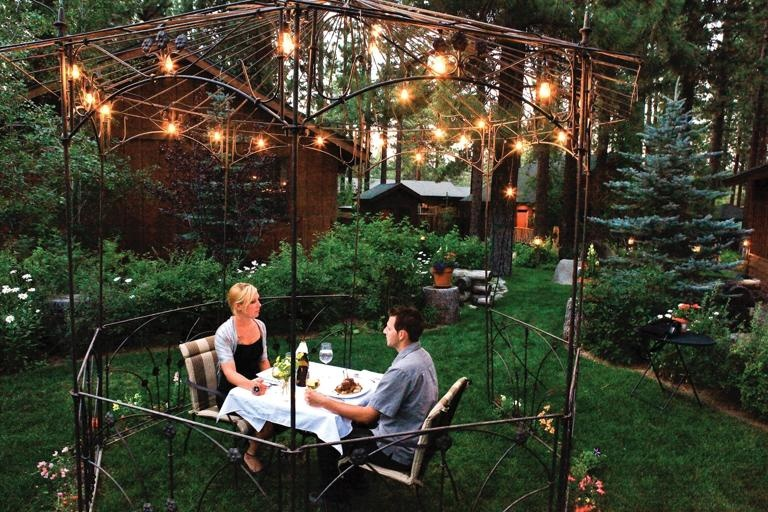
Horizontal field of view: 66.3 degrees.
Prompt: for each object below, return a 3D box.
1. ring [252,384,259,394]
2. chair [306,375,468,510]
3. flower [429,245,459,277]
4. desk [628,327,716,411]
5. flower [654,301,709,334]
[{"bbox_3d":[-1.870,1.955,8.603,0.077,0.118,0.034,0,-10,-4],"label":"ring"},{"bbox_3d":[0.168,2.574,8.515,1.821,2.529,1.606,8,8,25],"label":"chair"},{"bbox_3d":[1.507,0.131,15.232,0.655,0.501,0.657,0,0,-30],"label":"flower"},{"bbox_3d":[5.388,2.101,10.736,0.870,1.109,1.192,-3,-6,21],"label":"desk"},{"bbox_3d":[5.391,1.195,10.878,0.824,0.310,0.767,-19,6,-30],"label":"flower"}]
